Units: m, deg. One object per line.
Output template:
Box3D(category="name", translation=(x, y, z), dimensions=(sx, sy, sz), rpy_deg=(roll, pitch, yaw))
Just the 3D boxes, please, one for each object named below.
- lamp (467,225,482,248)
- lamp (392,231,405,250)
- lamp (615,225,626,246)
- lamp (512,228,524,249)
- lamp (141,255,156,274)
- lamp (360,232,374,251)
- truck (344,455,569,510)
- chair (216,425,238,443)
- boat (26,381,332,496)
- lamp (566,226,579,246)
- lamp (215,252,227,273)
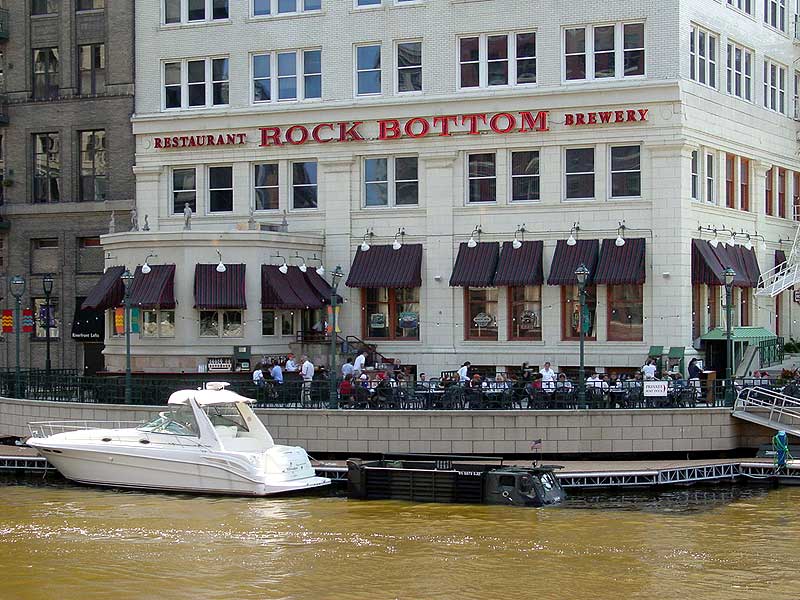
Box3D(category="lamp", translation=(3.250, -2.653, 78.484), dimensions=(0.557, 1.014, 0.494), rpy_deg=(-1, -5, 14))
Box3D(category="lamp", translation=(0.000, -2.504, 79.584), dimensions=(0.508, 0.795, 0.333), rpy_deg=(9, -2, 9))
Box3D(category="lamp", translation=(9.261, -2.645, 76.759), dimensions=(0.484, 1.031, 0.343), rpy_deg=(5, -7, -42))
Box3D(category="lamp", translation=(5.043, -2.566, 77.838), dimensions=(0.437, 0.997, 0.623), rpy_deg=(0, -5, 6))
Box3D(category="lamp", translation=(-10.404, -1.478, 76.781), dimensions=(0.578, 0.884, 0.582), rpy_deg=(-1, -5, 9))
Box3D(category="lamp", translation=(-1.354, -2.488, 79.894), dimensions=(0.466, 0.840, 0.475), rpy_deg=(7, -5, -1))
Box3D(category="truck", translation=(1.999, 6.382, 64.073), dimensions=(7.172, 1.596, 1.003), rpy_deg=(0, -5, 7))
Box3D(category="chair", translation=(-6.105, 4.797, 65.971), dimensions=(0.926, 0.597, 0.517), rpy_deg=(3, -7, -21))
Box3D(category="boat", translation=(-8.675, 5.167, 67.905), dimensions=(12.512, 3.905, 3.973), rpy_deg=(-2, -2, 17))
Box3D(category="lamp", translation=(7.298, -2.704, 77.212), dimensions=(0.477, 0.984, 0.460), rpy_deg=(-1, -5, 18))
Box3D(category="lamp", translation=(-7.384, -1.545, 76.813), dimensions=(0.427, 0.933, 0.533), rpy_deg=(-1, -5, 14))
